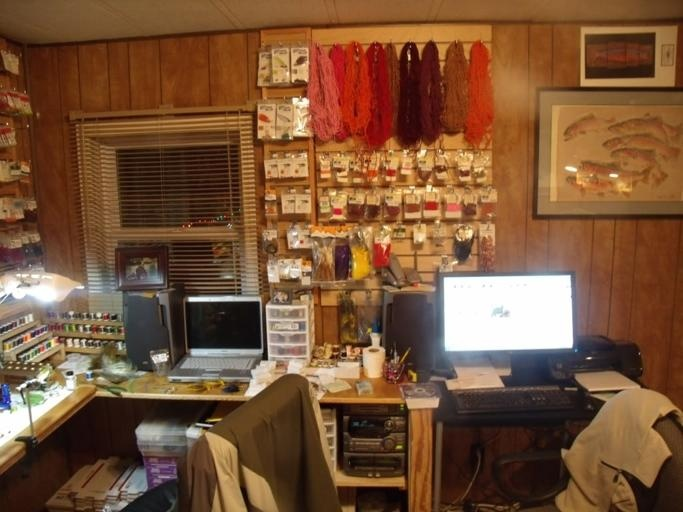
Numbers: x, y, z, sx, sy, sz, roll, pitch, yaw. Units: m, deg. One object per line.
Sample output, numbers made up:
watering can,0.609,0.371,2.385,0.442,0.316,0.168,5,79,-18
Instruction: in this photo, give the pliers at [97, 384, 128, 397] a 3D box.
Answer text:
pliers,-1.417,0.828,3.701,0.201,0.069,0.067,-3,7,19

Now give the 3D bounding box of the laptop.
laptop,-0.807,0.520,3.968,0.640,0.505,0.497,1,14,1

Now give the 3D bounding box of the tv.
tv,1.037,0.434,3.737,0.681,0.513,0.228,0,0,2

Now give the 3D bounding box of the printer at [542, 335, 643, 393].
printer,1.612,0.655,3.792,0.380,0.155,0.369,-1,3,4

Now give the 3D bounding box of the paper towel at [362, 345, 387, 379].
paper towel,0.209,0.677,3.799,0.148,0.188,0.103,-5,7,0

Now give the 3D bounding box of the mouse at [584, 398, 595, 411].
mouse,1.445,0.869,3.494,0.045,0.016,0.068,1,21,8
